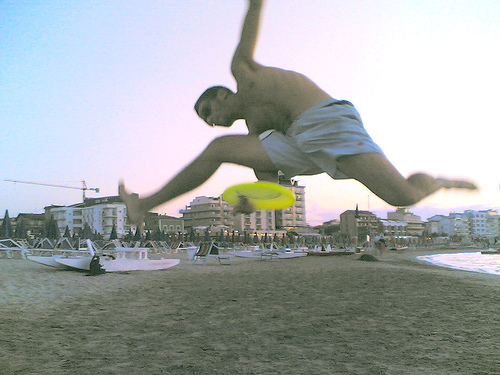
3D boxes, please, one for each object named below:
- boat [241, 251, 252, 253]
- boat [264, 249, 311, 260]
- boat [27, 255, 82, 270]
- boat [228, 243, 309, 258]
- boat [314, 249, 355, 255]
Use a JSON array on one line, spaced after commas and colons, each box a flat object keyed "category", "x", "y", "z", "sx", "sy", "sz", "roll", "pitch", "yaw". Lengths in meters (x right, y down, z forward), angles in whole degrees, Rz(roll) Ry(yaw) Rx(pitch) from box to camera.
[{"category": "boat", "x": -0.272, "y": 3.885, "z": 28.819, "sx": 0.493, "sy": 0.076, "sz": 2.471, "roll": 3, "pitch": -5, "yaw": -3}, {"category": "boat", "x": 2.469, "y": 4.138, "z": 29.816, "sx": 1.764, "sy": 0.438, "sz": 8.416, "roll": 1, "pitch": -5, "yaw": 13}, {"category": "boat", "x": -6.977, "y": 2.634, "z": 16.670, "sx": 1.532, "sy": 0.532, "sz": 2.815, "roll": 5, "pitch": -5, "yaw": -25}, {"category": "boat", "x": 1.108, "y": 3.827, "z": 28.810, "sx": 2.860, "sy": 0.933, "sz": 5.688, "roll": 0, "pitch": -5, "yaw": 28}, {"category": "boat", "x": 6.324, "y": 4.813, "z": 35.329, "sx": 2.043, "sy": 0.269, "sz": 5.420, "roll": 0, "pitch": -5, "yaw": 25}]
